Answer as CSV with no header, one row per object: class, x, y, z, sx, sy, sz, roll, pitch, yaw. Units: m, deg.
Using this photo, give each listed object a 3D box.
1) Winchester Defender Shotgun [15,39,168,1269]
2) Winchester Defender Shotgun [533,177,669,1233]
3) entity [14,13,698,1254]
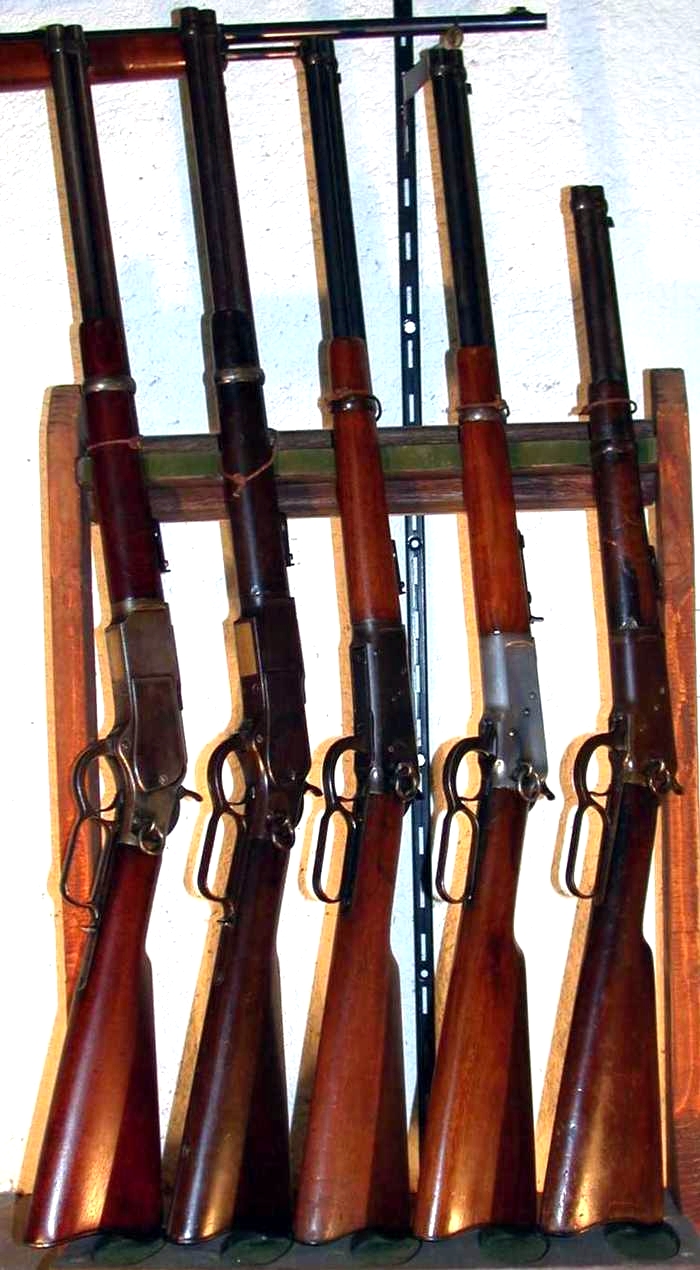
Winchester Defender Shotgun,-0.319,-0.033,1.459,0.243,1.403,0.114,-1,0,-36
Winchester Defender Shotgun,0.297,0.056,1.496,0.111,1.254,0.216,-5,-4,41
entity,-0.142,-0.068,1.870,0.772,1.555,0.369,-5,3,-4
